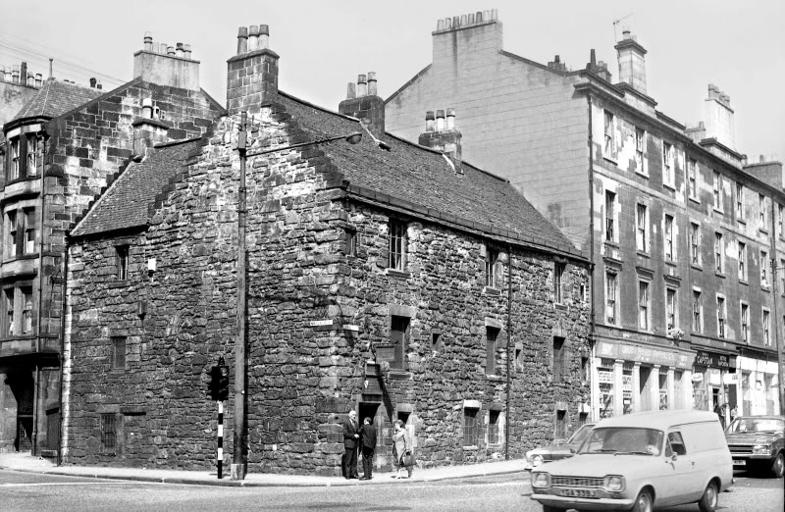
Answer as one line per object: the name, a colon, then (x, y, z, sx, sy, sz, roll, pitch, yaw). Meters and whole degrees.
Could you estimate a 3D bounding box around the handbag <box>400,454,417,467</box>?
handbag: (0.703, 8.446, 56.877, 0.530, 0.517, 0.517, 6, -35, -40)
